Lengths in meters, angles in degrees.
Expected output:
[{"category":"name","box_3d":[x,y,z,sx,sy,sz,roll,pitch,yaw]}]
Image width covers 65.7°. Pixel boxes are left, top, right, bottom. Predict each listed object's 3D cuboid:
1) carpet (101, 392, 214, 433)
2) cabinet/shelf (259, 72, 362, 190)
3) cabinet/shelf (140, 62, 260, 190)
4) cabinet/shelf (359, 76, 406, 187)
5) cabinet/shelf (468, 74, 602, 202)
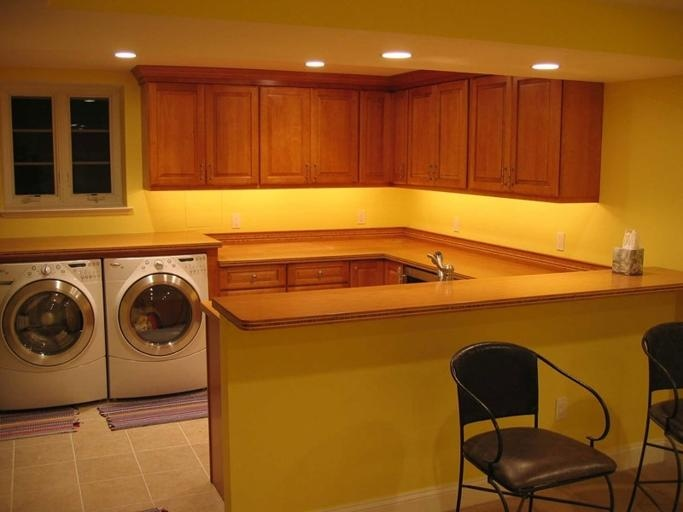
[{"category":"carpet","box_3d":[-1.516,1.190,4.232,0.853,0.109,0.548,-3,10,-17]},{"category":"cabinet/shelf","box_3d":[-0.339,-1.242,5.104,1.028,0.914,0.397,-1,6,-18]},{"category":"cabinet/shelf","box_3d":[-1.308,-1.208,4.771,1.023,0.983,0.397,-2,5,-20]},{"category":"cabinet/shelf","box_3d":[0.374,-1.193,5.358,0.383,0.951,0.167,-1,10,0]},{"category":"cabinet/shelf","box_3d":[1.461,-0.879,3.884,0.483,0.886,0.931,-6,10,-34]}]
